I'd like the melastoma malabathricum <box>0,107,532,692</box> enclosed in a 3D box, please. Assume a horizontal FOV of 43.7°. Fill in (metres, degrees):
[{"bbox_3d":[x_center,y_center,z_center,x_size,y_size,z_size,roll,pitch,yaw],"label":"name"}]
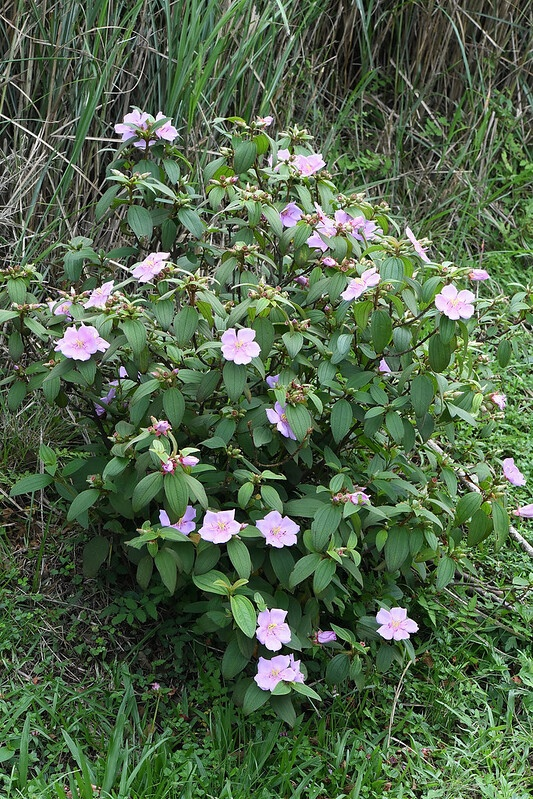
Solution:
[{"bbox_3d":[0.022,-0.014,2.642,1.969,1.693,1.893,-5,93,-13],"label":"melastoma malabathricum"}]
